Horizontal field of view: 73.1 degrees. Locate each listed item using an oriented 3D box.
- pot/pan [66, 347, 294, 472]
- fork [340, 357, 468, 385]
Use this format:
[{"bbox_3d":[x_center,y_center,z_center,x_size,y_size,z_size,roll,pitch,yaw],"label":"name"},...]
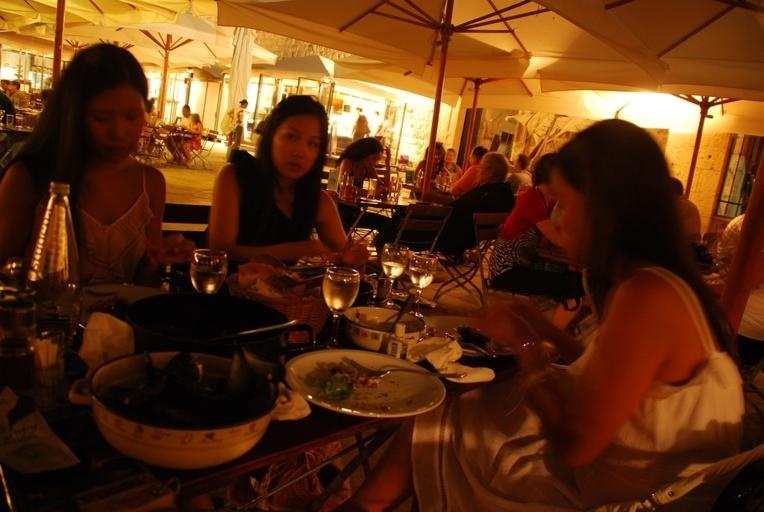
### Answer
[{"bbox_3d":[-0.451,0.338,1.172,0.398,0.154,0.402,11,6,-1],"label":"pot/pan"},{"bbox_3d":[0.058,0.364,1.622,0.308,0.035,0.043,8,33,5],"label":"fork"}]
